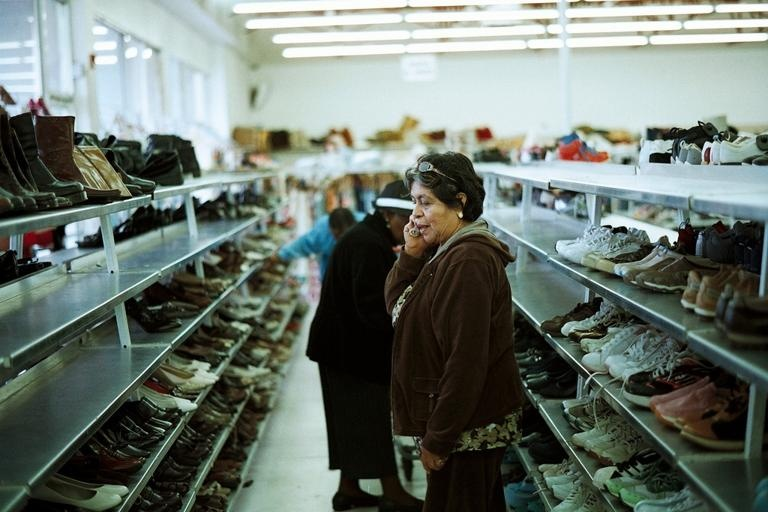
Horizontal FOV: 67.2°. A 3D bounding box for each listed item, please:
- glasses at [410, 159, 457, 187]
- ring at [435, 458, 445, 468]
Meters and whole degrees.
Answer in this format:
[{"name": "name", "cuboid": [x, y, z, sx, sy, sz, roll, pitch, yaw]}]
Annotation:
[{"name": "glasses", "cuboid": [0.218, -0.413, 2.752, 0.168, 0.043, 0.120, 26, -7, -38]}, {"name": "ring", "cuboid": [0.264, 0.961, 2.704, 0.039, 0.046, 0.050, -3, -8, 15]}]
